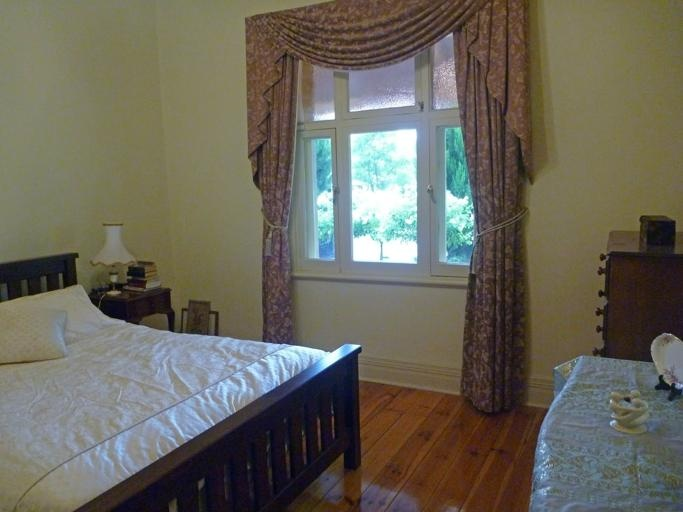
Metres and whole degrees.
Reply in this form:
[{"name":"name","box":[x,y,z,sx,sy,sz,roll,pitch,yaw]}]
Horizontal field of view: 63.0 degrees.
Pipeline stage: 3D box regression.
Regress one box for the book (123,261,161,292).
[{"name":"book","box":[-1.569,0.156,4.370,0.235,0.198,0.204,7,9,33]}]

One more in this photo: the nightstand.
[{"name":"nightstand","box":[-1.627,0.286,4.308,0.403,0.437,0.376,2,5,34]}]
